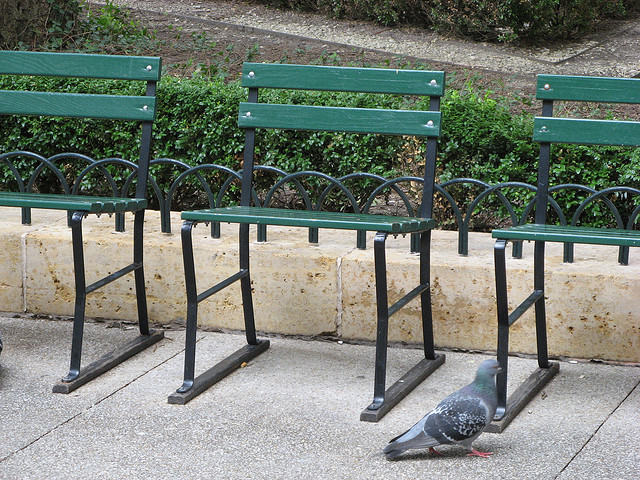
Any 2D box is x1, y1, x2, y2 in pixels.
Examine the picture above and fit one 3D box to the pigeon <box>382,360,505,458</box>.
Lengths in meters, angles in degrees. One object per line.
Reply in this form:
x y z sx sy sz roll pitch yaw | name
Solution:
0.515 0.720 3.044 0.599 0.326 0.203 -8 6 -6 | pigeon
